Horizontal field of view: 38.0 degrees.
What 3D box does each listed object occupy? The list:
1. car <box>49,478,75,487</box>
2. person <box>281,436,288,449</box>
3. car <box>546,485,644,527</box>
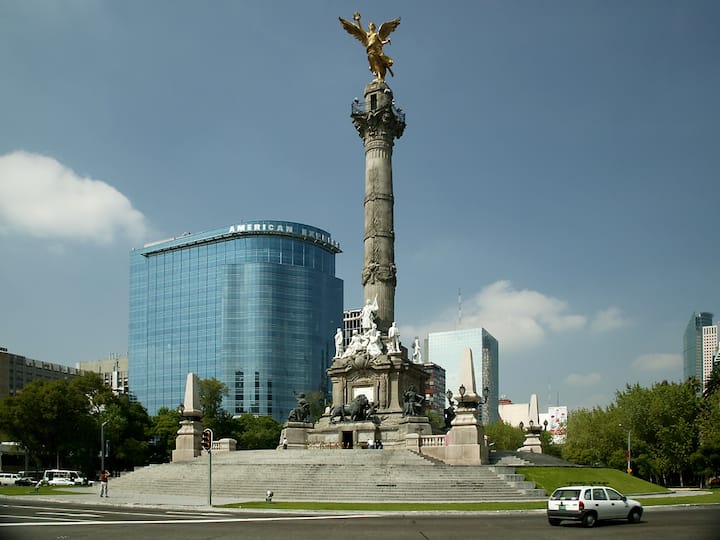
[{"bbox_3d":[-30.414,21.571,106.424,1.964,0.698,1.275,-4,-10,13],"label":"car"},{"bbox_3d":[-7.189,16.494,100.023,0.598,1.124,0.951,1,-15,-5],"label":"person"},{"bbox_3d":[15.448,15.713,69.626,5.961,2.534,1.087,3,-14,-12],"label":"car"}]
